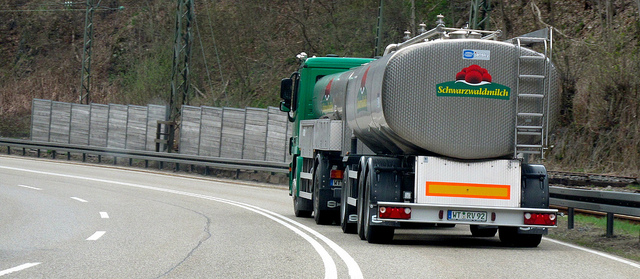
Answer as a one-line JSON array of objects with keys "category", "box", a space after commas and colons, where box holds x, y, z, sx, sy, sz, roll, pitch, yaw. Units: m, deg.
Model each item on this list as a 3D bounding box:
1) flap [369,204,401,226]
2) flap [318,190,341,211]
[{"category": "flap", "box": [3.396, 3.931, 35.802, 1.347, 0.732, 1.259, 3, 1, -4]}, {"category": "flap", "box": [0.646, 3.536, 39.853, 1.302, 0.861, 1.196, 1, -4, -7]}]
